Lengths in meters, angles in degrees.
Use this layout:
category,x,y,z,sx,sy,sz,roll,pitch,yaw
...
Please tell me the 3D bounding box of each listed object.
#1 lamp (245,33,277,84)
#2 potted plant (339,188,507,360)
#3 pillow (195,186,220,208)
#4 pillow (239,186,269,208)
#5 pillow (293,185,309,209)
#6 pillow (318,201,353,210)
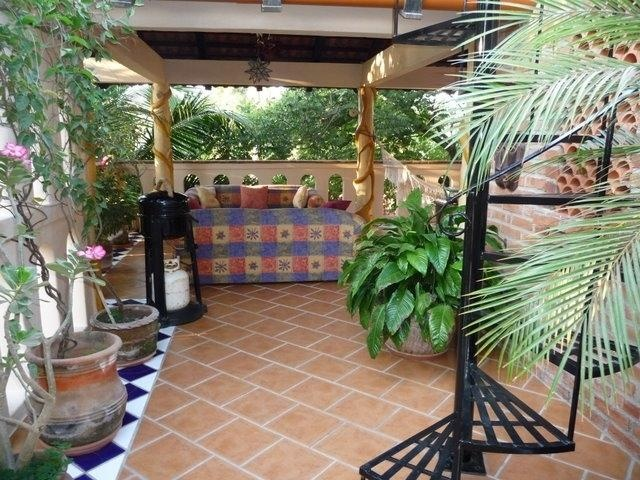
category,x,y,z,sx,sy,sz,roll,pitch,yaw
lamp,-0.801,-2.466,6.096,0.338,0.864,0.318,30,50,11
potted plant,0.655,0.250,3.223,1.150,0.939,1.128,3,-4,10
pillow,-1.702,-0.662,6.969,0.326,0.317,0.378,-5,14,-23
pillow,-1.050,-0.671,7.150,0.482,0.415,0.163,0,-8,-9
pillow,-0.299,-0.663,7.106,0.252,0.348,0.425,0,13,-3
pillow,0.223,-0.471,6.055,0.267,0.096,0.254,-6,8,4
